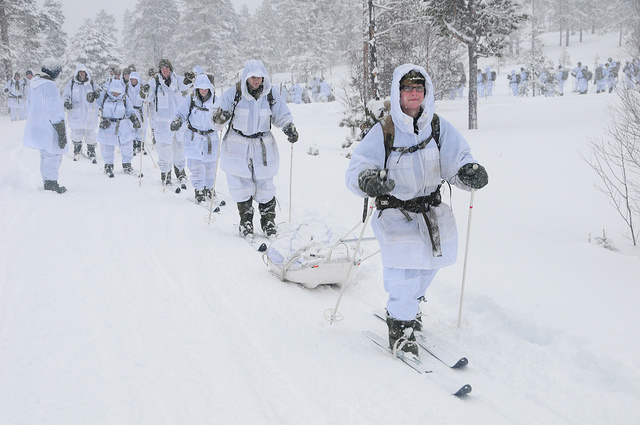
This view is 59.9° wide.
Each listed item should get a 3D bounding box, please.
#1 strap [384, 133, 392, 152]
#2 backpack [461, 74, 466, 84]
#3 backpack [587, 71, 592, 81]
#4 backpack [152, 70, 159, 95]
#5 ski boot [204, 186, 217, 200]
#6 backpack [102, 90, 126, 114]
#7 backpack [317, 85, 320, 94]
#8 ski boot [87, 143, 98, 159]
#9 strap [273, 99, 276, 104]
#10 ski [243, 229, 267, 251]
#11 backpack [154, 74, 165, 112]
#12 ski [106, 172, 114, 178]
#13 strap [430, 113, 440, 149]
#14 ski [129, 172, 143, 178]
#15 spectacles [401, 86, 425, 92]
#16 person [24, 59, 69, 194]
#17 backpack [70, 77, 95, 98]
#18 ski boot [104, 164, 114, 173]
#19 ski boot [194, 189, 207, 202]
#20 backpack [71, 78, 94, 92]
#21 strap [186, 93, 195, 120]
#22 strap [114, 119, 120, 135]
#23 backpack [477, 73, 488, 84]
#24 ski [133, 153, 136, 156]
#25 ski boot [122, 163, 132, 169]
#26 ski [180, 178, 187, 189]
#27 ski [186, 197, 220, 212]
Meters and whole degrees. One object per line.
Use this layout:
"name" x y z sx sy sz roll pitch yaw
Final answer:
"strap" 0.949 -0.973 7.720 0.104 0.223 0.024 -3 12 -14
"backpack" 6.444 -6.040 25.064 0.233 0.244 0.477 10 -1 -12
"backpack" 14.650 -7.451 30.224 0.198 0.612 0.433 3 4 16
"backpack" -3.887 -3.153 13.297 0.142 0.459 0.315 3 10 -14
"ski boot" -2.547 -0.451 12.793 0.168 0.243 0.550 -5 6 -27
"backpack" -5.329 -2.892 14.481 0.484 0.477 0.380 -5 51 -8
"backpack" -0.088 -8.392 37.955 0.139 0.458 0.245 -2 12 -9
"ski boot" -6.635 -1.803 16.216 0.238 0.462 0.636 -5 13 -23
"strap" -0.847 -2.079 10.337 0.081 0.087 0.023 2 -5 -20
"ski" -1.254 0.520 10.579 0.201 0.165 0.897 6 24 -30
"backpack" -3.828 -2.885 13.306 0.172 0.650 0.586 -25 50 -35
"ski" -5.226 -0.947 13.901 0.141 0.110 0.204 -7 -3 -25
"strap" 1.636 -1.164 7.840 0.074 0.338 0.231 2 2 -3
"ski" -4.733 -0.974 14.383 0.310 0.095 0.199 24 1 40
"spectacles" 1.302 -1.719 7.736 0.319 0.076 0.080 -4 13 -16
"person" -5.682 -1.800 11.585 0.768 2.718 0.683 -6 13 -26
"backpack" -6.496 -3.437 15.273 0.655 0.501 0.424 -2 12 -10
"ski boot" -5.304 -1.113 14.028 0.200 0.210 0.190 -2 -7 -12
"ski boot" -2.646 -0.378 12.380 0.255 0.265 0.095 2 -7 -12
"backpack" -6.536 -3.502 15.278 0.347 0.370 0.141 6 13 -8
"strap" -2.783 -2.381 12.130 0.092 0.371 0.258 9 4 -18
"strap" -5.216 -2.214 14.356 0.141 0.379 0.086 -7 13 -31
"backpack" 9.523 -7.769 32.180 0.281 0.603 0.809 2 12 11
"ski" -5.849 -1.854 17.633 0.044 0.086 0.264 -2 13 -11
"ski boot" -5.044 -1.239 14.574 0.190 0.122 0.173 -5 13 -23
"ski" -3.384 -0.714 13.854 0.118 0.146 0.363 -1 26 -16
"ski" -2.514 -0.167 12.204 0.284 0.148 1.227 -10 16 -39
